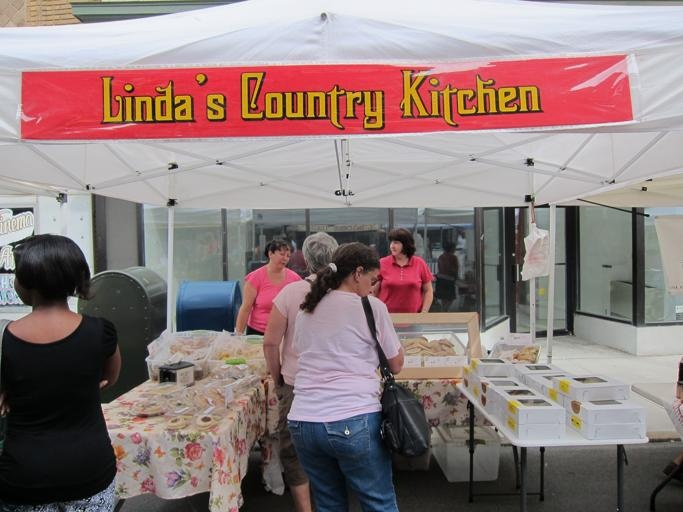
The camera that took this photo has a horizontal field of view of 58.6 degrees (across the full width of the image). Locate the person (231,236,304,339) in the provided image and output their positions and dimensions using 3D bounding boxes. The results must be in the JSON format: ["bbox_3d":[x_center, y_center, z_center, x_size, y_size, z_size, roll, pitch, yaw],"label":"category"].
[{"bbox_3d":[-0.680,0.606,5.872,0.708,1.541,0.438,-1,16,-17],"label":"person"}]

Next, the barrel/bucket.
[{"bbox_3d":[-1.494,0.518,6.669,0.655,0.665,0.525,1,1,3],"label":"barrel/bucket"}]

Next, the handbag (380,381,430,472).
[{"bbox_3d":[0.397,0.954,3.586,0.251,0.475,0.340,-23,-21,11],"label":"handbag"}]

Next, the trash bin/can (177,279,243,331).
[{"bbox_3d":[-1.404,0.508,6.655,0.649,0.665,0.518,1,1,3],"label":"trash bin/can"}]

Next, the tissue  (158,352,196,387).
[{"bbox_3d":[-1.249,0.870,4.607,0.185,0.164,0.188,0,-3,11],"label":"tissue "}]

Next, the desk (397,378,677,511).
[{"bbox_3d":[1.380,1.470,4.706,1.645,0.869,1.768,-1,0,2],"label":"desk"}]
